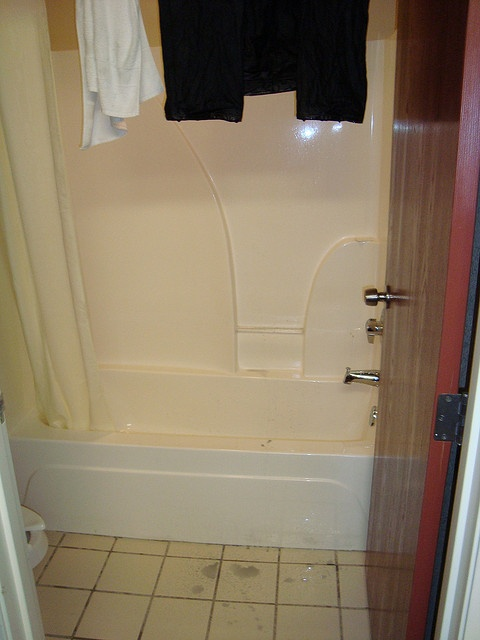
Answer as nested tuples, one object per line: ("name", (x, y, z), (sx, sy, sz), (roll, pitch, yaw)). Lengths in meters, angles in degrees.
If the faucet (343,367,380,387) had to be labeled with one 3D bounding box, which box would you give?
("faucet", (0.371, 0.173, 1.594), (0.084, 0.035, 0.057), (-1, 31, 13))
